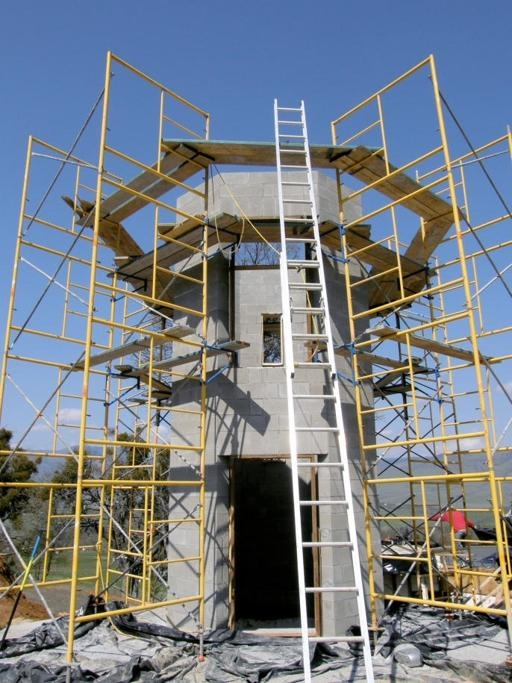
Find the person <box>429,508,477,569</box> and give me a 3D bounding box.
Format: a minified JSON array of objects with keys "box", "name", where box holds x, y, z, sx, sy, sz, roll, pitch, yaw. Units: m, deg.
[{"box":[4.729,4.465,15.012,1.005,1.247,0.578,-21,-16,17],"name":"person"}]
